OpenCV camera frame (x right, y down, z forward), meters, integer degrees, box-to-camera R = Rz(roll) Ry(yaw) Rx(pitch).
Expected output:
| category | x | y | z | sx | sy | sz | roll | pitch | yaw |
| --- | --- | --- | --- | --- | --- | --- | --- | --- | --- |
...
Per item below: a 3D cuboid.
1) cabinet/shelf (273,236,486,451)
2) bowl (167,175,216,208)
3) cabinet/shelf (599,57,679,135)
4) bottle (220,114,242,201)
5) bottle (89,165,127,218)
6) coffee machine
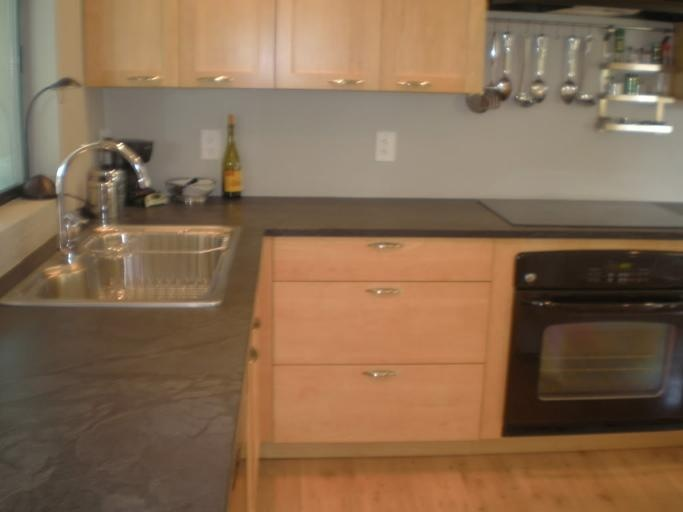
| category | x | y | z | sx | sy | sz | roll | pitch | yaw |
| --- | --- | --- | --- | --- | --- | --- | --- | --- | --- |
| cabinet/shelf | 0.138 | 0.311 | 2.302 | 0.846 | 0.737 | 0.414 | 0 | 9 | -2 |
| bowl | -0.698 | -0.305 | 2.664 | 0.215 | 0.101 | 0.243 | -3 | 17 | -13 |
| cabinet/shelf | 1.380 | -0.735 | 2.723 | 0.348 | 0.305 | 0.113 | 0 | 14 | 0 |
| bottle | -0.520 | -0.464 | 2.705 | 0.095 | 0.379 | 0.148 | -2 | 18 | -10 |
| bottle | -0.906 | -0.250 | 2.340 | 0.127 | 0.186 | 0.221 | 2 | 17 | -7 |
| coffee machine | -0.972 | -0.347 | 2.566 | 0.296 | 0.301 | 0.192 | -2 | 14 | -12 |
